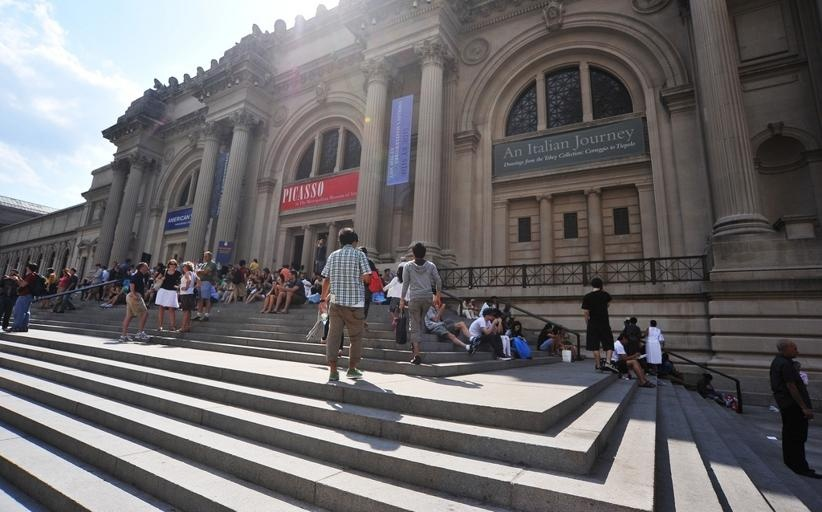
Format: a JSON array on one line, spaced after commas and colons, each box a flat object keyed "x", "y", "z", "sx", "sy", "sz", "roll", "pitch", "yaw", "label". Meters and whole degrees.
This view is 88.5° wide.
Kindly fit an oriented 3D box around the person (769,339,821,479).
[{"x": 7.290, "y": 2.861, "z": 8.157, "sx": 0.562, "sy": 2.358, "sz": 1.087, "roll": -7, "pitch": -10, "yaw": 39, "label": "person"}]

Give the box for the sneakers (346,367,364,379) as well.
[{"x": -1.068, "y": 2.274, "z": 8.097, "sx": 0.145, "sy": 0.136, "sz": 0.322, "roll": 21, "pitch": -7, "yaw": 23, "label": "sneakers"}]

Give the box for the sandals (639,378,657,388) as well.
[{"x": 5.939, "y": 3.247, "z": 10.707, "sx": 0.396, "sy": 0.150, "sz": 0.219, "roll": -2, "pitch": -3, "yaw": 23, "label": "sandals"}]

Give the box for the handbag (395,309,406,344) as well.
[{"x": -0.201, "y": 1.538, "z": 9.168, "sx": 0.209, "sy": 0.684, "sz": 0.181, "roll": 1, "pitch": -8, "yaw": -15, "label": "handbag"}]

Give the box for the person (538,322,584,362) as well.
[{"x": 4.897, "y": 2.781, "z": 13.966, "sx": 1.691, "sy": 1.193, "sz": 1.172, "roll": 4, "pitch": -8, "yaw": -35, "label": "person"}]

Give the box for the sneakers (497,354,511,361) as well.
[{"x": 2.412, "y": 2.676, "z": 10.986, "sx": 0.398, "sy": 0.150, "sz": 0.131, "roll": -4, "pitch": -9, "yaw": 18, "label": "sneakers"}]

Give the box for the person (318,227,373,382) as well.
[{"x": -1.255, "y": 0.868, "z": 8.263, "sx": 0.915, "sy": 2.966, "sz": 1.083, "roll": 1, "pitch": -8, "yaw": -11, "label": "person"}]

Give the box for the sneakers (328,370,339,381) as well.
[{"x": -1.385, "y": 2.179, "z": 7.679, "sx": 0.173, "sy": 0.177, "sz": 0.181, "roll": 1, "pitch": -7, "yaw": -11, "label": "sneakers"}]

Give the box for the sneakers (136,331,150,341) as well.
[{"x": -7.590, "y": 2.319, "z": 12.186, "sx": 0.436, "sy": 0.176, "sz": 0.199, "roll": 3, "pitch": -2, "yaw": -23, "label": "sneakers"}]

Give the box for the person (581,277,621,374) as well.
[{"x": 4.689, "y": 1.716, "z": 10.690, "sx": 0.649, "sy": 2.334, "sz": 0.868, "roll": -4, "pitch": -8, "yaw": 23, "label": "person"}]

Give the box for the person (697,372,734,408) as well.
[{"x": 8.545, "y": 3.806, "z": 11.909, "sx": 0.939, "sy": 0.629, "sz": 0.454, "roll": 19, "pitch": 2, "yaw": 40, "label": "person"}]

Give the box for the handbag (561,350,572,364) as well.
[{"x": 4.751, "y": 3.098, "z": 13.071, "sx": 0.321, "sy": 0.393, "sz": 0.414, "roll": -1, "pitch": -2, "yaw": 8, "label": "handbag"}]

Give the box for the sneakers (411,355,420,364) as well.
[{"x": 0.106, "y": 2.180, "z": 8.904, "sx": 0.221, "sy": 0.183, "sz": 0.373, "roll": -1, "pitch": -6, "yaw": 2, "label": "sneakers"}]
